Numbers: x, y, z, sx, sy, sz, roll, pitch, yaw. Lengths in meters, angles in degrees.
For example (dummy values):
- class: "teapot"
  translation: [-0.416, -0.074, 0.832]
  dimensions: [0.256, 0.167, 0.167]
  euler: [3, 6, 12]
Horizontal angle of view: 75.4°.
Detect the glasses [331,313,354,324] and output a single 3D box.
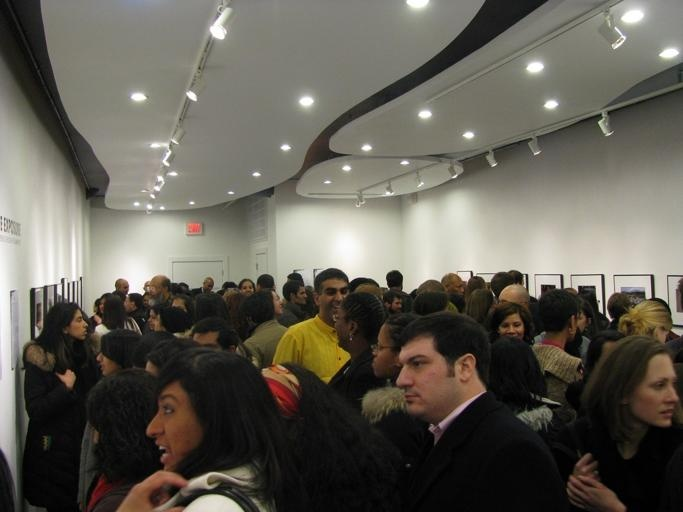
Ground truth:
- class: "glasses"
  translation: [0.013, 0.424, 2.924]
  dimensions: [0.143, 0.046, 0.143]
  euler: [11, -4, -15]
